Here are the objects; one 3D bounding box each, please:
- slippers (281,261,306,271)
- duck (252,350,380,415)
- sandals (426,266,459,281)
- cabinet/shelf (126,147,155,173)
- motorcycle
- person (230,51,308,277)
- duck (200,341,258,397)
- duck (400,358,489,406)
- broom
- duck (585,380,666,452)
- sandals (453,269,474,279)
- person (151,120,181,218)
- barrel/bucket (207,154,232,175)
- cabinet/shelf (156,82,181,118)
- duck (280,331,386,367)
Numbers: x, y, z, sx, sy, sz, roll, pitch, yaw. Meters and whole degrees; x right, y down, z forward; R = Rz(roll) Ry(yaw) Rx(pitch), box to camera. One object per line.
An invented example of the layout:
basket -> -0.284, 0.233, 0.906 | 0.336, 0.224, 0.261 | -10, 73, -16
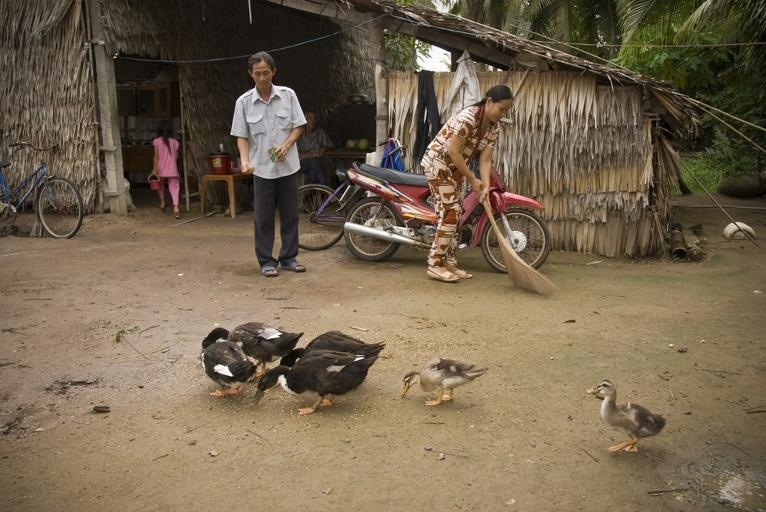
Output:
slippers -> -1.216, 0.116, 7.805 | 0.357, 0.123, 0.135 | 2, 4, 34
duck -> -0.550, 0.979, 4.674 | 0.983, 0.387, 0.204 | 1, 11, 3
sandals -> 0.775, 0.214, 7.484 | 0.438, 0.157, 0.172 | 6, 6, 18
cabinet/shelf -> -6.661, -2.770, 15.585 | 0.815, 0.724, 0.314 | 0, 11, -2
motorcycle -> 0.924, -0.702, 8.657 | 3.146, 1.684, 1.482 | 4, 23, 15
person -> -1.444, -1.177, 7.386 | 0.917, 2.838, 0.535 | -3, 12, -16
duck -> -1.299, 0.986, 4.780 | 0.359, 0.459, 0.519 | -5, 12, -24
duck -> 0.501, 1.004, 4.713 | 1.019, 0.434, 0.555 | 1, -3, 1
broom -> 1.675, -0.147, 7.008 | 0.302, 1.199, 0.995 | -8, 14, -35
duck -> 1.842, 1.216, 4.333 | 0.532, 0.520, 0.312 | 4, 12, 18
sandals -> 1.056, 0.224, 7.591 | 0.119, 0.069, 0.279 | -4, 14, -28
person -> -4.474, -1.864, 11.759 | 0.725, 1.953, 1.066 | -1, 2, -29
barrel/bucket -> -3.295, -1.905, 11.425 | 0.443, 0.330, 0.451 | 0, 12, 0
cabinet/shelf -> -5.926, -4.436, 15.779 | 0.551, 0.949, 0.360 | -2, 12, -11
duck -> -0.436, 0.762, 4.885 | 0.839, 0.290, 0.346 | -12, 3, 11
